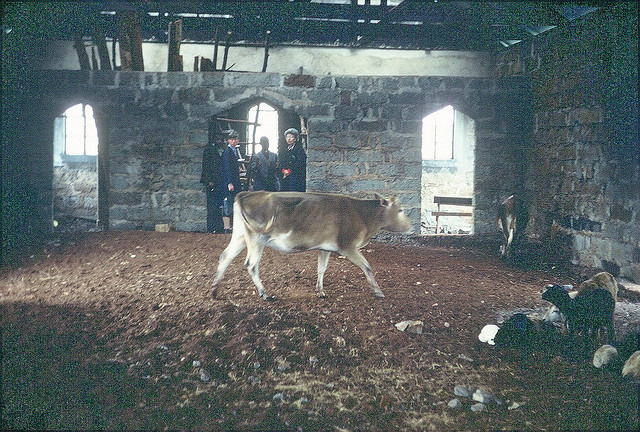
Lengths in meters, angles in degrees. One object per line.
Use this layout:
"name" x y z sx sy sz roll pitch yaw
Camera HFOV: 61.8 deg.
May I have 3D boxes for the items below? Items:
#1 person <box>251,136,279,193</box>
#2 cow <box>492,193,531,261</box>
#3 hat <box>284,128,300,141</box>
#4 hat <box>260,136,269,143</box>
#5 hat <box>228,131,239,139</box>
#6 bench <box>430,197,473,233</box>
"person" -1.131 -1.064 10.876 0.474 1.077 0.491 1 7 14
"cow" 3.675 0.010 10.030 0.534 0.963 1.983 1 14 24
"hat" -0.531 -1.618 10.409 0.281 0.213 0.287 0 -3 3
"hat" -1.120 -1.530 10.669 0.148 0.107 0.185 -2 6 -6
"hat" -1.762 -1.642 10.797 0.170 0.156 0.267 -3 7 -15
"bench" 3.705 -0.007 15.038 1.143 0.636 0.390 0 8 0
